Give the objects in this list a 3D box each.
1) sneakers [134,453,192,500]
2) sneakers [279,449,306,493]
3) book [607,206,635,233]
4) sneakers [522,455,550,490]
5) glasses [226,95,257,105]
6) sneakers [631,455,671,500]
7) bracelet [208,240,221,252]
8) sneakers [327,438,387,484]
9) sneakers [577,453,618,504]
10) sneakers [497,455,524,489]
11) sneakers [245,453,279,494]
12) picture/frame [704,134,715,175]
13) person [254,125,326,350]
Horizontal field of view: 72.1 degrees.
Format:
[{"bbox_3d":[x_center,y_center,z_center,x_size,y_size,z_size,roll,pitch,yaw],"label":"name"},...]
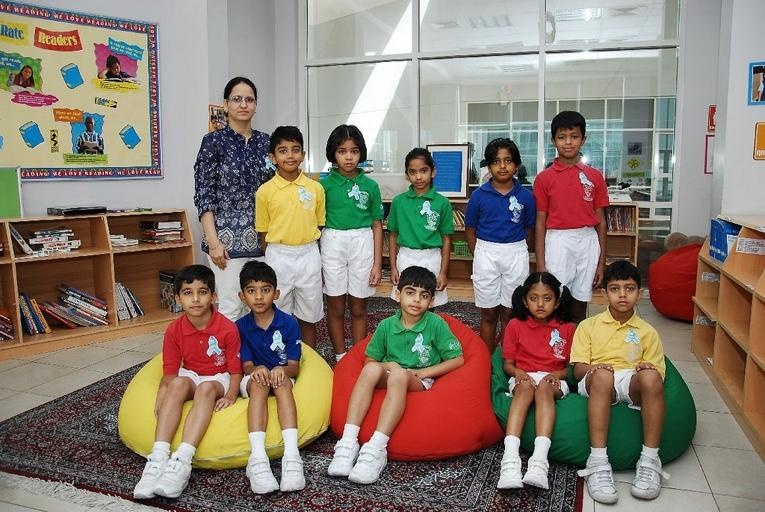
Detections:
[{"bbox_3d":[-1.087,1.117,2.676,0.149,0.118,0.261,0,-4,0],"label":"sneakers"},{"bbox_3d":[-0.451,1.107,2.674,0.090,0.082,0.203,-1,6,-7],"label":"sneakers"},{"bbox_3d":[2.594,-0.382,5.809,0.302,0.290,0.289,-1,0,1],"label":"book"},{"bbox_3d":[0.776,1.097,2.627,0.089,0.090,0.216,4,-11,17],"label":"sneakers"},{"bbox_3d":[-0.895,-0.984,3.325,0.186,0.068,0.105,-7,13,-24],"label":"glasses"},{"bbox_3d":[1.354,1.129,2.662,0.127,0.115,0.268,0,10,25],"label":"sneakers"},{"bbox_3d":[-1.046,-0.065,3.319,0.064,0.066,0.066,-27,6,31],"label":"bracelet"},{"bbox_3d":[-0.121,1.072,2.718,0.182,0.104,0.290,3,0,21],"label":"sneakers"},{"bbox_3d":[1.122,1.135,2.699,0.205,0.178,0.206,-1,11,3],"label":"sneakers"},{"bbox_3d":[0.644,1.108,2.653,0.120,0.138,0.117,1,12,13],"label":"sneakers"},{"bbox_3d":[-0.612,1.115,2.670,0.157,0.167,0.136,-4,12,-13],"label":"sneakers"},{"bbox_3d":[3.577,-1.102,5.744,0.076,0.441,0.216,1,12,15],"label":"picture/frame"},{"bbox_3d":[-0.571,-0.011,3.482,0.512,1.653,0.474,-5,20,-20],"label":"person"}]
